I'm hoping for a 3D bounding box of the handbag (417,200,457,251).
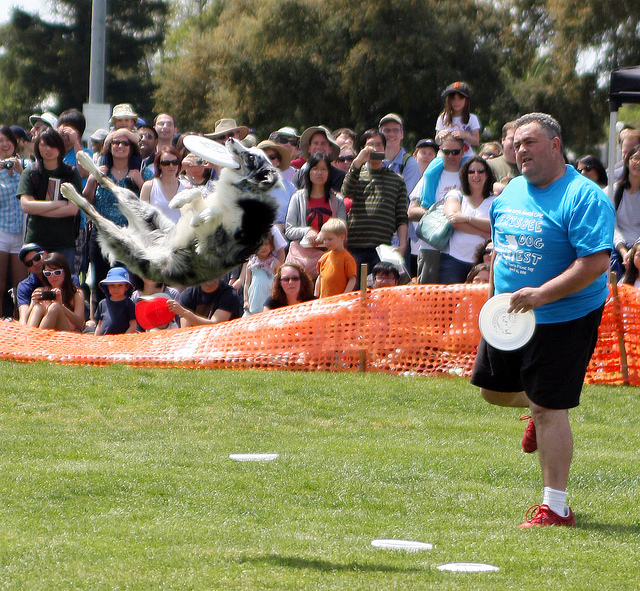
[{"bbox_3d":[1.592,-0.913,26.944,0.232,0.582,0.456,30,3,-45],"label":"handbag"}]

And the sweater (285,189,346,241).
[{"bbox_3d":[-0.083,-1.070,27.233,0.760,0.700,0.398,2,3,-4],"label":"sweater"}]

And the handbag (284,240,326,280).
[{"bbox_3d":[-0.203,-0.552,27.311,0.482,0.210,0.539,11,34,3],"label":"handbag"}]

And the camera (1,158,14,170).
[{"bbox_3d":[-4.434,-1.839,28.313,0.153,0.095,0.112,-2,6,-10],"label":"camera"}]

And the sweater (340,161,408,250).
[{"bbox_3d":[0.751,-1.198,27.562,0.884,1.163,0.399,0,4,-32],"label":"sweater"}]

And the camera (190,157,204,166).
[{"bbox_3d":[-1.540,-1.650,25.002,0.167,0.055,0.182,0,6,-8],"label":"camera"}]

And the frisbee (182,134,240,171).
[{"bbox_3d":[-1.227,-1.582,22.510,0.645,0.372,0.386,2,4,-5],"label":"frisbee"}]

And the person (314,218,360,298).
[{"bbox_3d":[0.204,-0.486,26.948,0.580,1.067,0.530,3,3,6],"label":"person"}]

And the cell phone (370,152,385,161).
[{"bbox_3d":[0.771,-1.884,27.336,0.201,0.100,0.123,2,4,-8],"label":"cell phone"}]

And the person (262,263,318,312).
[{"bbox_3d":[-0.407,-0.148,26.782,0.737,0.605,0.407,-5,9,-2],"label":"person"}]

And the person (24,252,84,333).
[{"bbox_3d":[-3.644,0.005,27.143,0.615,1.391,1.003,-4,-25,9],"label":"person"}]
